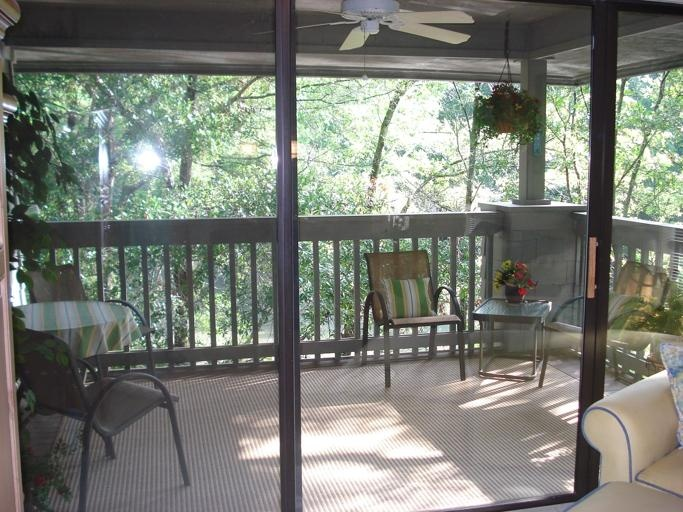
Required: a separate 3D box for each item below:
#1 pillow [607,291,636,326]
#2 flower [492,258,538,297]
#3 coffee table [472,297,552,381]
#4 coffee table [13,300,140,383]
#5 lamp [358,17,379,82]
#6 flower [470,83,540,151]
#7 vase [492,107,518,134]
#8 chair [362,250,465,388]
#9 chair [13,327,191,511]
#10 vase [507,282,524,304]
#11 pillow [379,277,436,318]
[{"bbox_3d":[1.556,0.295,3.086,0.147,0.168,0.046,3,6,-11],"label":"pillow"},{"bbox_3d":[0.941,0.142,3.028,0.191,0.246,0.204,5,10,-10],"label":"flower"},{"bbox_3d":[0.926,0.512,3.107,0.392,0.411,0.416,2,-1,10],"label":"coffee table"},{"bbox_3d":[-1.242,0.386,2.594,0.474,0.282,0.121,3,-18,-12],"label":"coffee table"},{"bbox_3d":[0.140,-1.006,2.711,0.094,0.270,0.074,-3,2,2],"label":"lamp"},{"bbox_3d":[0.891,-0.774,2.982,0.292,0.273,0.312,-6,10,-11],"label":"flower"},{"bbox_3d":[0.859,-0.700,2.905,0.107,0.094,0.120,0,-4,0],"label":"vase"},{"bbox_3d":[0.356,0.309,2.827,0.447,0.655,0.486,-2,2,-1],"label":"chair"},{"bbox_3d":[-1.198,0.714,2.910,0.661,1.228,0.786,10,13,44],"label":"chair"},{"bbox_3d":[0.932,0.201,2.985,0.086,0.098,0.094,0,1,16],"label":"vase"},{"bbox_3d":[0.353,0.230,2.930,0.269,0.221,0.098,-2,-6,-12],"label":"pillow"}]
